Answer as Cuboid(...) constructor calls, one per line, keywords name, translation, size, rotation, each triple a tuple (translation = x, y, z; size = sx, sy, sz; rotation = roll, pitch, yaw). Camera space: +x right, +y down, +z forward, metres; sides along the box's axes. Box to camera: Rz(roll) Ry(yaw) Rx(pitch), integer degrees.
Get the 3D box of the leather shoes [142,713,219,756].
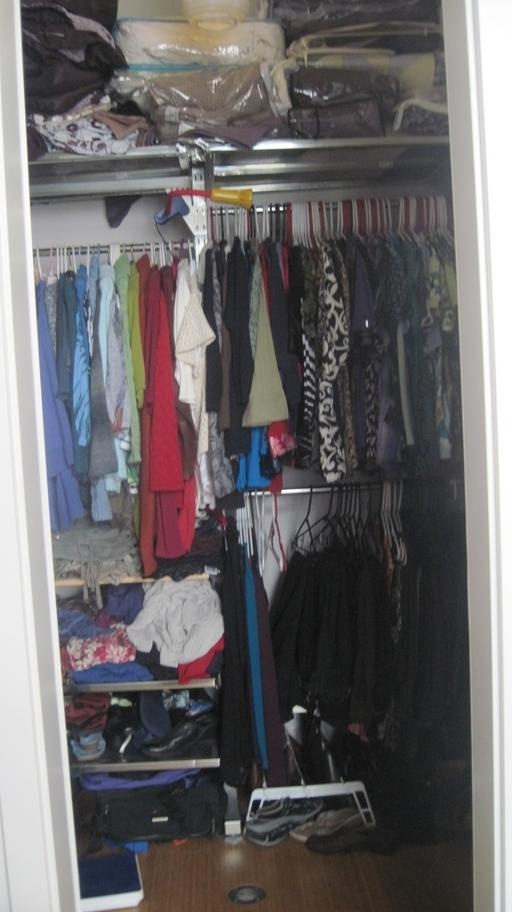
Cuboid(name="leather shoes", translation=(-0.168, 0.643, 1.687), size=(0.188, 0.102, 0.067), rotation=(4, -22, -31))
